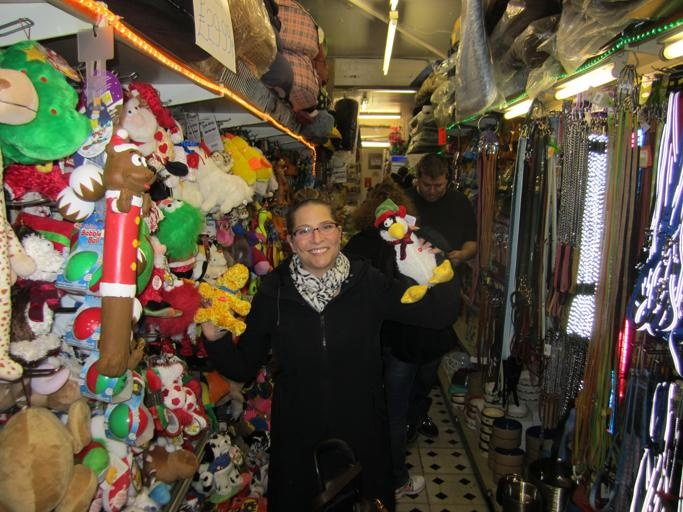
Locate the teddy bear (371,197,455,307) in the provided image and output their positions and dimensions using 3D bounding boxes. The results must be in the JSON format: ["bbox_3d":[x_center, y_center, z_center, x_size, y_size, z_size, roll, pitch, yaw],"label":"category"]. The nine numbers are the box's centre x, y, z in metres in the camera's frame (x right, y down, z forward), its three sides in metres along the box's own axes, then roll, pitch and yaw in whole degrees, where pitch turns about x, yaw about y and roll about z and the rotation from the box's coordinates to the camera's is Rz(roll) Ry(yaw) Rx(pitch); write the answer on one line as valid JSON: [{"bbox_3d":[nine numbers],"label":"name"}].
[{"bbox_3d":[0.314,-0.053,2.176,0.290,0.497,0.223,-31,-18,9],"label":"teddy bear"}]
